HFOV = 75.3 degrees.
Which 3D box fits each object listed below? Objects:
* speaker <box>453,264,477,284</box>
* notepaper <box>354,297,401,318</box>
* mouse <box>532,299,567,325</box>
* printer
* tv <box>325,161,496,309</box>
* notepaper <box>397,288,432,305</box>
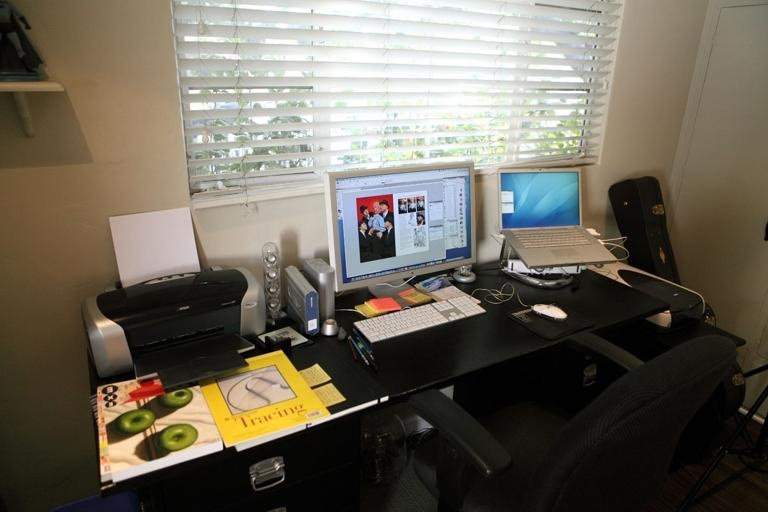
[{"bbox_3d":[0.419,0.074,2.592,0.106,0.107,0.095,-22,36,-33],"label":"speaker"},{"bbox_3d":[-0.026,0.227,2.267,0.133,0.031,0.099,-10,29,-26],"label":"notepaper"},{"bbox_3d":[0.743,0.244,2.246,0.079,0.025,0.109,-18,30,-34],"label":"mouse"},{"bbox_3d":[-0.793,0.252,1.939,0.646,0.287,0.293,-12,22,-22],"label":"printer"},{"bbox_3d":[0.091,-0.096,2.343,0.684,0.488,0.160,-10,25,-23],"label":"tv"},{"bbox_3d":[0.141,0.185,2.358,0.088,0.020,0.084,-12,33,-35],"label":"notepaper"}]
